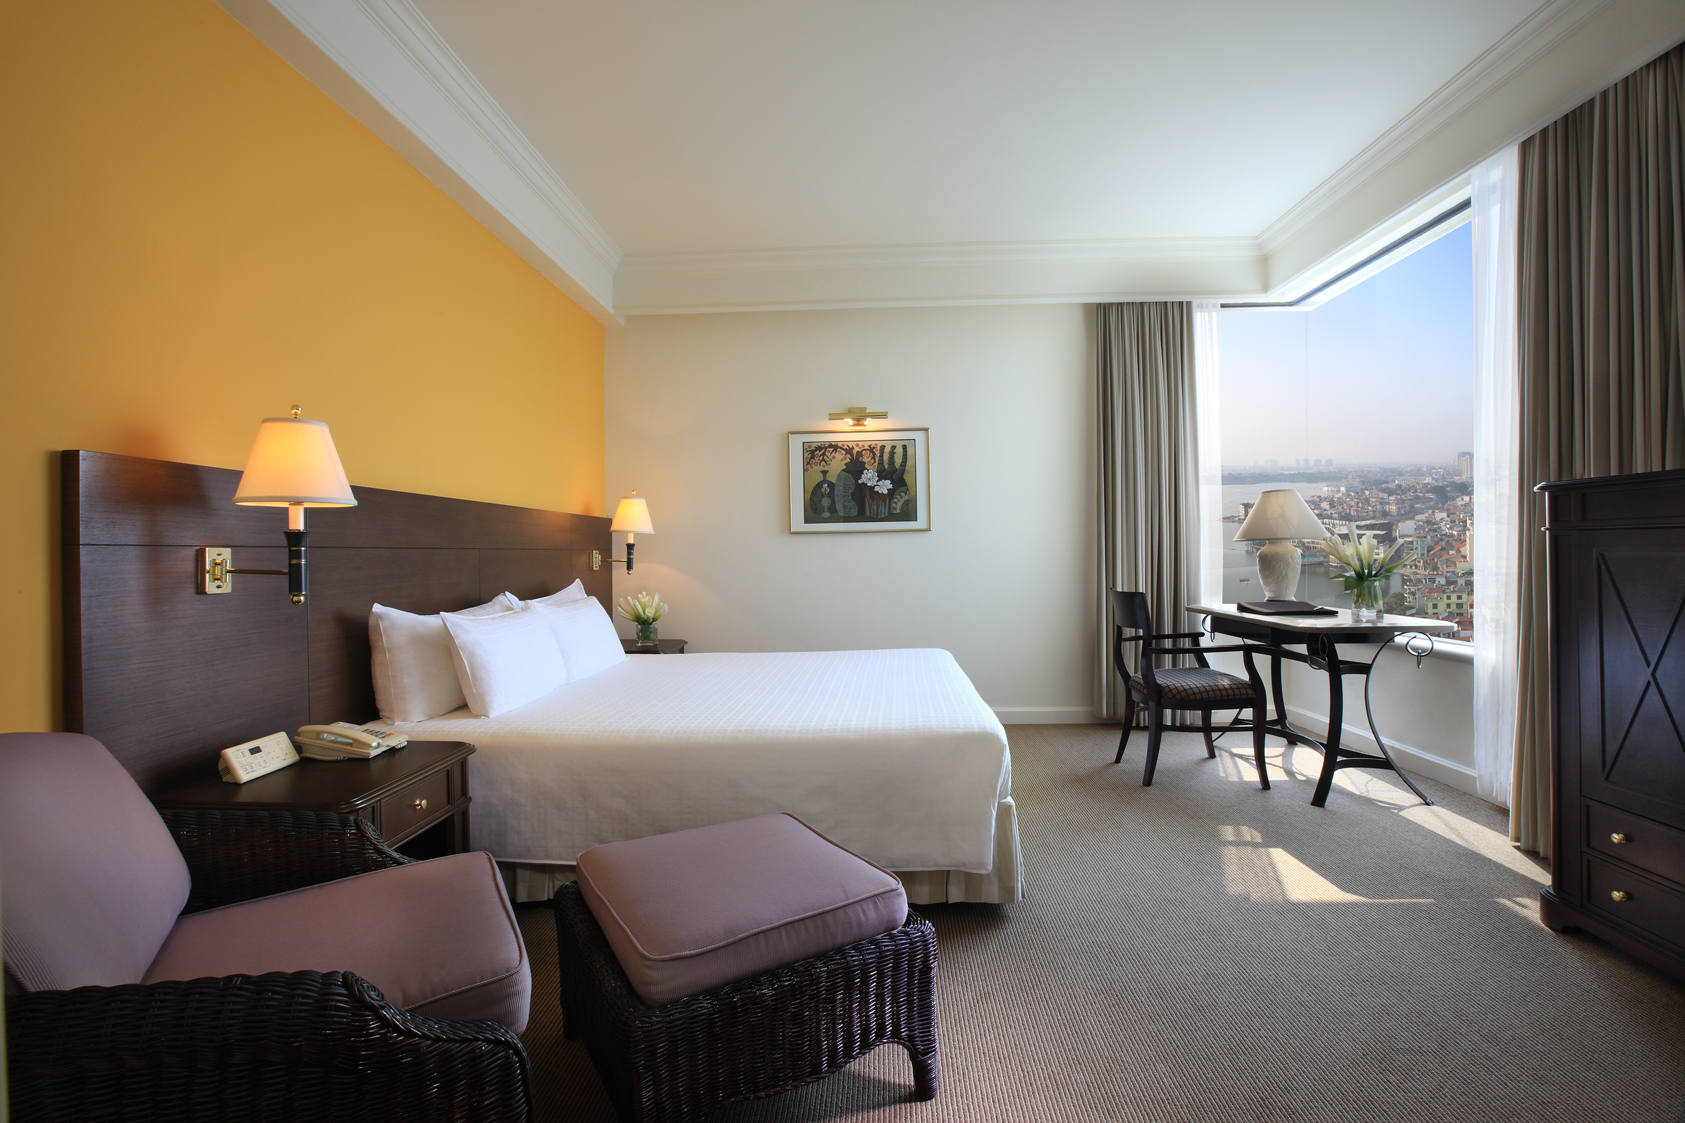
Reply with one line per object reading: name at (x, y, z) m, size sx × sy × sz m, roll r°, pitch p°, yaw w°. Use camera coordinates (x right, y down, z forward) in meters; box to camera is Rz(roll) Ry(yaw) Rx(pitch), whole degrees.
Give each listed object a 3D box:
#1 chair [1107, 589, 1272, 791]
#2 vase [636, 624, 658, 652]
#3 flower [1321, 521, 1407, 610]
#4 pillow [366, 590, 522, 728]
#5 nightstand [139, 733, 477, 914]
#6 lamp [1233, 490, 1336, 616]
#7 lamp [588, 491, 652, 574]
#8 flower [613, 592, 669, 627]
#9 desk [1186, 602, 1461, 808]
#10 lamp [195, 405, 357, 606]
chair at (1.945, 0.707, 6.152) m, size 0.973 × 1.446 × 1.077 m, roll -1°, pitch -1°, yaw 3°
vase at (-1.257, 0.478, 6.604) m, size 0.139 × 0.171 × 0.144 m, roll 0°, pitch 2°, yaw 14°
flower at (2.776, 0.073, 5.469) m, size 0.430 × 0.452 × 0.461 m, roll 3°, pitch -8°, yaw -9°
pillow at (-1.904, 0.445, 4.648) m, size 0.248 × 0.524 × 0.754 m, roll -4°, pitch -3°, yaw -1°
nightstand at (-1.894, 1.174, 3.910) m, size 0.650 × 0.851 × 0.849 m, roll 0°, pitch 5°, yaw 4°
lamp at (2.329, -0.040, 5.763) m, size 0.608 × 0.833 × 0.567 m, roll 0°, pitch -2°, yaw -44°
lamp at (-1.373, -0.165, 6.699) m, size 0.294 × 0.485 × 0.294 m, roll -10°, pitch -16°, yaw 40°
flower at (-1.326, 0.288, 6.824) m, size 0.229 × 0.273 × 0.244 m, roll -3°, pitch -1°, yaw 16°
desk at (2.646, 0.731, 5.607) m, size 0.640 × 0.856 × 1.240 m, roll -1°, pitch -4°, yaw 10°
lamp at (-2.084, -0.190, 3.864) m, size 0.488 × 0.741 × 0.474 m, roll 2°, pitch 5°, yaw 33°
